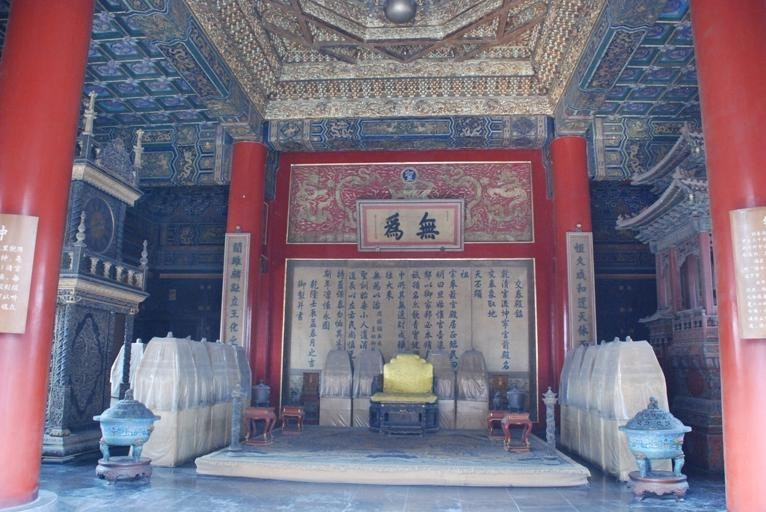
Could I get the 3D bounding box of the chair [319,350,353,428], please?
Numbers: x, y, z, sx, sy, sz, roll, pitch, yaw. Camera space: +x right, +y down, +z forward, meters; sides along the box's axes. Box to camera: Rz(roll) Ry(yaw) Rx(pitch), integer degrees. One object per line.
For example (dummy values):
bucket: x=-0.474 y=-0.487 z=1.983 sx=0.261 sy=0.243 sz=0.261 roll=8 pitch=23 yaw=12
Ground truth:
chair: x=-0.696 y=2.004 z=9.797 sx=0.496 sy=1.037 sz=0.535 roll=0 pitch=11 yaw=-3

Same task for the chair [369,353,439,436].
chair: x=0.314 y=1.962 z=9.051 sx=0.936 sy=0.884 sz=0.885 roll=1 pitch=10 yaw=1

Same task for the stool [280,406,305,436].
stool: x=-1.262 y=2.339 z=9.115 sx=0.492 sy=0.421 sz=0.370 roll=0 pitch=-13 yaw=0

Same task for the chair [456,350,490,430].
chair: x=1.344 y=1.978 z=9.613 sx=0.470 sy=1.039 sz=0.523 roll=2 pitch=11 yaw=5

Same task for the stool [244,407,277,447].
stool: x=-1.581 y=2.119 z=8.196 sx=0.361 sy=0.402 sz=0.312 roll=3 pitch=-5 yaw=-4
